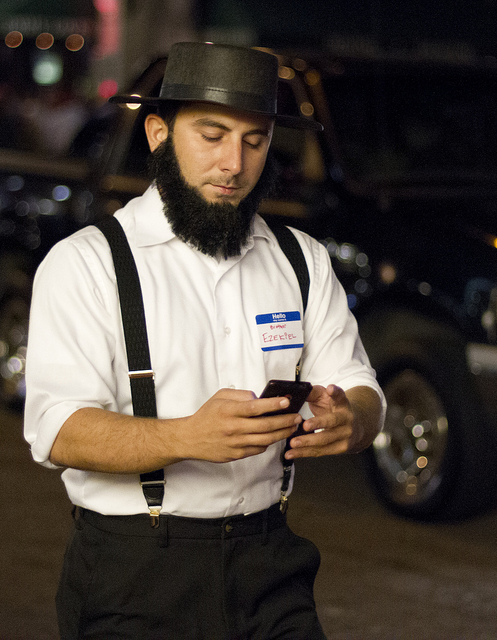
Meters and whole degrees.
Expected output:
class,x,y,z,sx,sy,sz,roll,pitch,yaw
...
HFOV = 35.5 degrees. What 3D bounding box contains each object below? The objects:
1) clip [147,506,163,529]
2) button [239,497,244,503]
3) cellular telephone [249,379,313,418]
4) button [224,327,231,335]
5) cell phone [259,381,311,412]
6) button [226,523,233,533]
class,x,y,z,sx,sy,sz,roll,pitch,yaw
clip,-0.173,0.361,1.441,0.018,0.042,0.035,4,36,5
button,-0.016,0.348,1.506,0.010,0.012,0.004,1,-2,-5
cellular telephone,0.051,0.134,1.343,0.129,0.067,0.012,1,38,-49
button,-0.043,0.022,1.554,0.018,0.014,0.004,-4,4,-11
cell phone,0.061,0.129,1.322,0.135,0.070,0.012,2,52,-35
button,-0.037,0.395,1.477,0.018,0.014,0.005,0,1,-27
